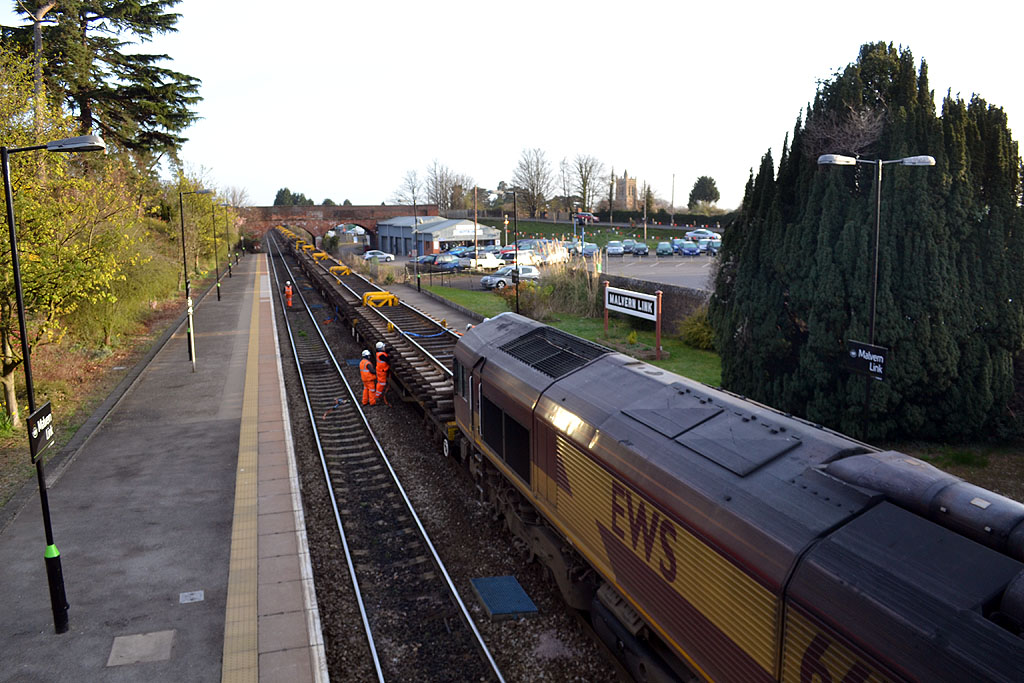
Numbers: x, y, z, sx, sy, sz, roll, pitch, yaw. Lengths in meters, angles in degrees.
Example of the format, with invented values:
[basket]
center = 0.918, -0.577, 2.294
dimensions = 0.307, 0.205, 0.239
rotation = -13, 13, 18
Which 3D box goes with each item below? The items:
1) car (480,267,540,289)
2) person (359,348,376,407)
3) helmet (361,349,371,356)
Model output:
[car]
center = -0.266, -3.919, 47.645
dimensions = 3.071, 1.116, 1.619
rotation = 7, 16, 21
[person]
center = -4.723, 1.281, 24.446
dimensions = 0.445, 1.392, 1.036
rotation = 0, 12, -11
[helmet]
center = -5.590, 0.395, 28.592
dimensions = 0.188, 0.208, 0.254
rotation = 20, 38, 17
